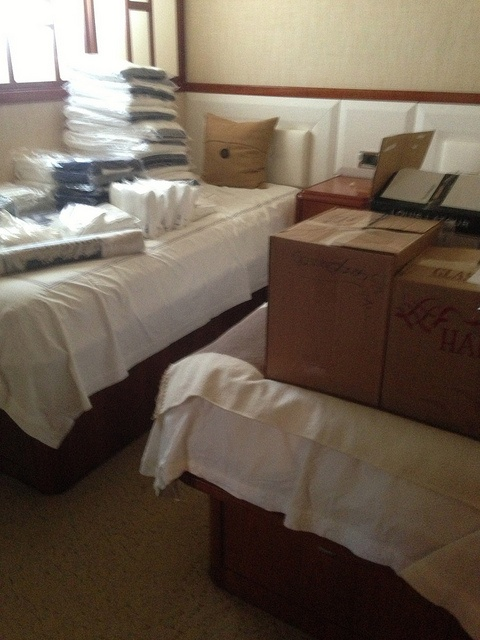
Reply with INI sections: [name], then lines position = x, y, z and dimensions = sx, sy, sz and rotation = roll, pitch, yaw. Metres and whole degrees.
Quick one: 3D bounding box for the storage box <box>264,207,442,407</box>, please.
[storage box]
position = 0.197, -0.016, 0.845
dimensions = 0.261, 0.239, 0.210
rotation = 12, 17, 36
